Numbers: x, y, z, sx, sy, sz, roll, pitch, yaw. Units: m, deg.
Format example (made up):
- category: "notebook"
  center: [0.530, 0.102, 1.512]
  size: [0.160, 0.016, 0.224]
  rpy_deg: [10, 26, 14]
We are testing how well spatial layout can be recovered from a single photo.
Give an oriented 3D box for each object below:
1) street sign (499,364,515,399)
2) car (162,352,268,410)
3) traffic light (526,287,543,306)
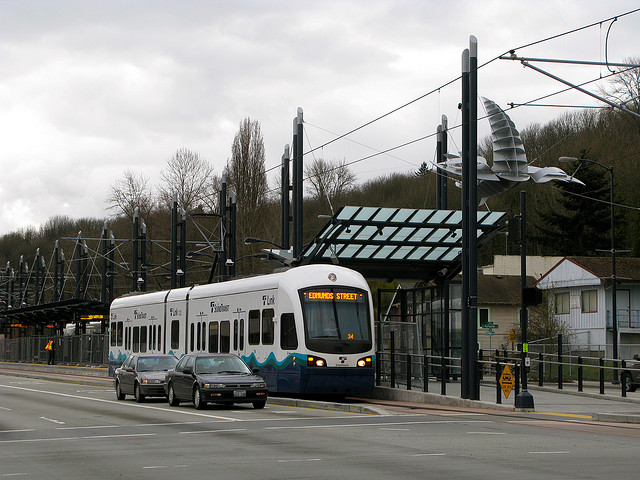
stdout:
- category: "street sign"
  center: [5.569, 4.182, 30.622]
  size: [0.396, 0.934, 0.565]
  rpy_deg: [-3, -9, 14]
- category: "car"
  center: [-3.300, 4.307, 31.352]
  size: [1.679, 1.717, 3.319]
  rpy_deg: [8, -14, -44]
- category: "traffic light"
  center: [6.263, 1.618, 30.019]
  size: [0.442, 0.499, 0.637]
  rpy_deg: [-2, -10, 7]
